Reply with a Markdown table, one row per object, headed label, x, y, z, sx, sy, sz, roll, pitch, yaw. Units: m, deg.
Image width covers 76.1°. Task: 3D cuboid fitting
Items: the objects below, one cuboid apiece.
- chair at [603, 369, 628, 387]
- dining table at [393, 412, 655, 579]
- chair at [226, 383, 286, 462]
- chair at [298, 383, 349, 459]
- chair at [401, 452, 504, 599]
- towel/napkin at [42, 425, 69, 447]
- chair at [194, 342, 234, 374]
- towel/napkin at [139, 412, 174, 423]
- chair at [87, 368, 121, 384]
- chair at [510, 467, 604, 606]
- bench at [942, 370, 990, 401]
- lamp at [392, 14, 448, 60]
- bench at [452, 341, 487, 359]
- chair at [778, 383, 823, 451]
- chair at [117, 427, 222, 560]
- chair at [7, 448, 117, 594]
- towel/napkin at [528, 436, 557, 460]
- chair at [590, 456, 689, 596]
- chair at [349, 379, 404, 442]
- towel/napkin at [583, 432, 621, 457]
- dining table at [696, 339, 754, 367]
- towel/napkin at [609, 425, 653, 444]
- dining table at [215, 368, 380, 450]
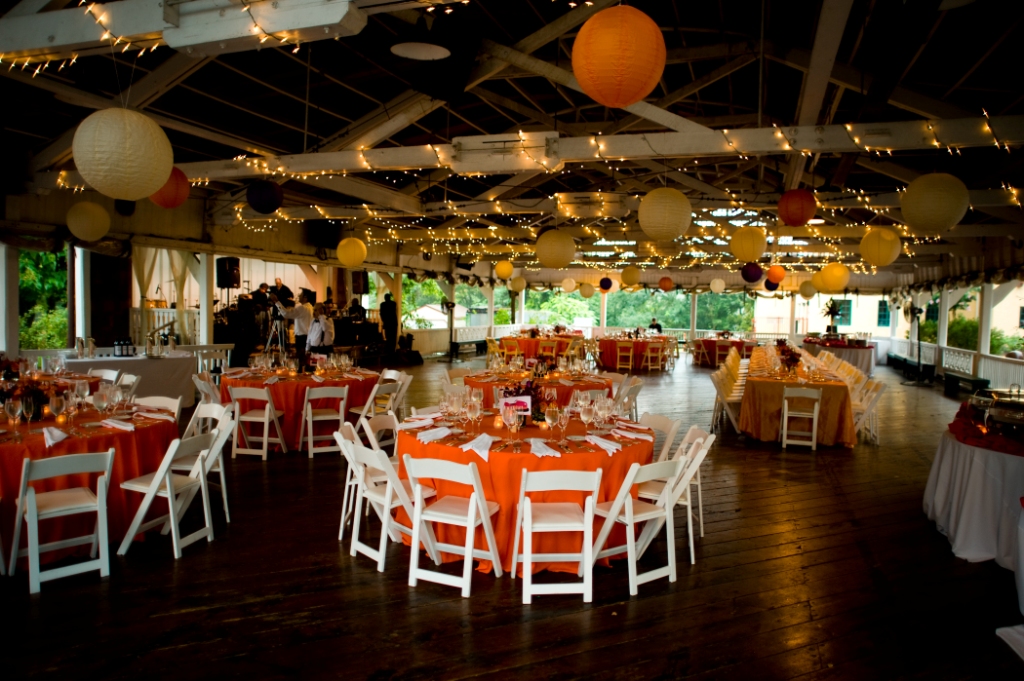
| label | x | y | z | sx | sy | sz | roll | pitch | yaw |
| --- | --- | --- | --- | --- | --- | --- | --- | --- | --- |
| chair | 1.445 | 0.485 | 9.185 | 0.330 | 0.425 | 0.330 | -1 | -6 | 11 |
| dining table | 0.084 | 1.292 | 5.264 | 1.471 | 0.515 | 1.385 | -1 | -1 | 2 |
| chair | -3.062 | 0.951 | 7.874 | 0.617 | 0.852 | 0.779 | -2 | 4 | -28 |
| chair | -2.287 | 0.956 | 8.020 | 0.582 | 0.851 | 0.659 | -1 | 4 | -16 |
| chair | -0.423 | 1.435 | 5.281 | 0.707 | 0.912 | 0.706 | -2 | -7 | 29 |
| towel/napkin | -3.678 | 0.759 | 5.263 | 0.199 | 0.066 | 0.140 | 10 | 12 | 37 |
| chair | -5.003 | 0.278 | 10.967 | 0.577 | 0.734 | 0.543 | 2 | -3 | -21 |
| towel/napkin | -3.269 | 0.691 | 5.968 | 0.415 | 0.020 | 0.107 | 3 | 16 | 7 |
| chair | -5.052 | 0.432 | 8.114 | 0.190 | 0.237 | 0.194 | 1 | 3 | -17 |
| chair | 0.318 | 1.449 | 5.099 | 0.679 | 1.016 | 0.482 | 0 | 4 | -1 |
| bench | 9.239 | 0.888 | 13.396 | 0.697 | 0.476 | 1.309 | 2 | 3 | 27 |
| lamp | -0.927 | -3.013 | 6.599 | 0.604 | 0.253 | 0.364 | 0 | 3 | -7 |
| bench | -1.377 | 0.219 | 20.768 | 0.655 | 0.477 | 2.102 | 1 | 3 | 15 |
| chair | 3.808 | 1.002 | 8.679 | 0.485 | 0.833 | 0.699 | 1 | 4 | 23 |
| chair | -2.952 | 1.289 | 5.620 | 0.717 | 0.858 | 0.666 | -4 | -3 | 13 |
| chair | -3.505 | 1.341 | 5.089 | 0.673 | 1.050 | 0.635 | -3 | 5 | -37 |
| towel/napkin | 0.235 | 0.856 | 5.341 | 0.225 | 0.095 | 0.338 | -1 | 3 | -12 |
| chair | 0.961 | 1.440 | 5.329 | 0.876 | 0.898 | 0.742 | -4 | -5 | 34 |
| chair | -1.713 | 0.900 | 8.184 | 0.695 | 0.767 | 0.627 | -6 | -3 | 6 |
| towel/napkin | 0.731 | 0.841 | 5.423 | 0.120 | 0.035 | 0.304 | -12 | 12 | -18 |
| dining table | 6.075 | 0.306 | 19.425 | 1.458 | 0.691 | 0.966 | 0 | -3 | 1 |
| towel/napkin | 1.028 | 0.799 | 5.706 | 0.214 | 0.046 | 0.190 | -4 | 8 | -29 |
| dining table | -2.780 | 0.750 | 8.919 | 1.838 | 0.758 | 1.913 | -1 | 2 | 20 |
